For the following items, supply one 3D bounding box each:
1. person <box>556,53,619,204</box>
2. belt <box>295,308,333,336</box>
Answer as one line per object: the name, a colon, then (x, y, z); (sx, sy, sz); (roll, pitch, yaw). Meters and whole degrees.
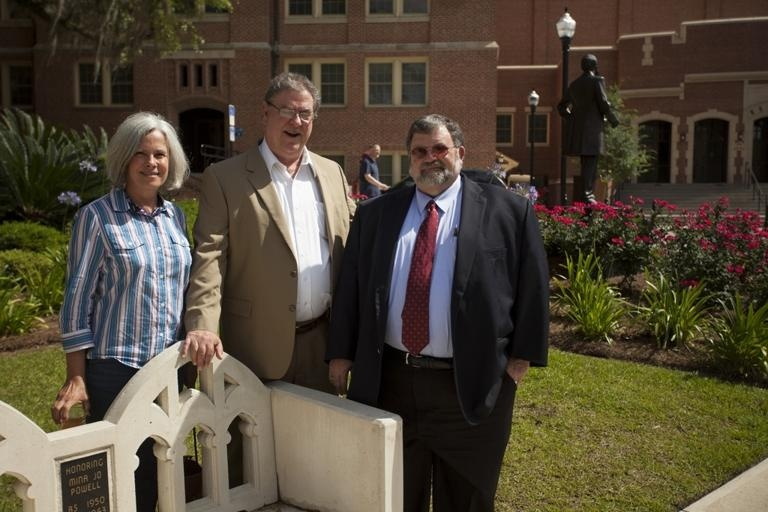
person: (3.836, -2.385, 14.198); (1.014, 2.777, 1.315); (2, 3, 11)
belt: (-0.642, 0.620, 6.775); (0.187, 0.111, 0.261); (-8, 5, 38)
